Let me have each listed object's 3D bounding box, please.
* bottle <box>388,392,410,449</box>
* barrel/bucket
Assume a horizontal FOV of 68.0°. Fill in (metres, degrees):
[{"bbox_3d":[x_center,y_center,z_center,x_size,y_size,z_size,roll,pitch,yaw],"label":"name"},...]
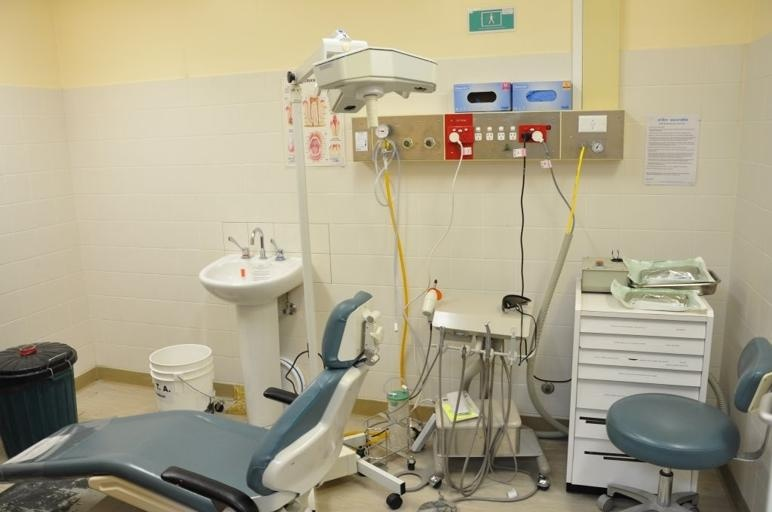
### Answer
[{"bbox_3d":[0.079,1.023,3.828,0.150,0.414,0.404,-1,14,2],"label":"bottle"},{"bbox_3d":[-1.395,0.805,4.077,0.448,0.426,0.443,0,11,0],"label":"barrel/bucket"}]
